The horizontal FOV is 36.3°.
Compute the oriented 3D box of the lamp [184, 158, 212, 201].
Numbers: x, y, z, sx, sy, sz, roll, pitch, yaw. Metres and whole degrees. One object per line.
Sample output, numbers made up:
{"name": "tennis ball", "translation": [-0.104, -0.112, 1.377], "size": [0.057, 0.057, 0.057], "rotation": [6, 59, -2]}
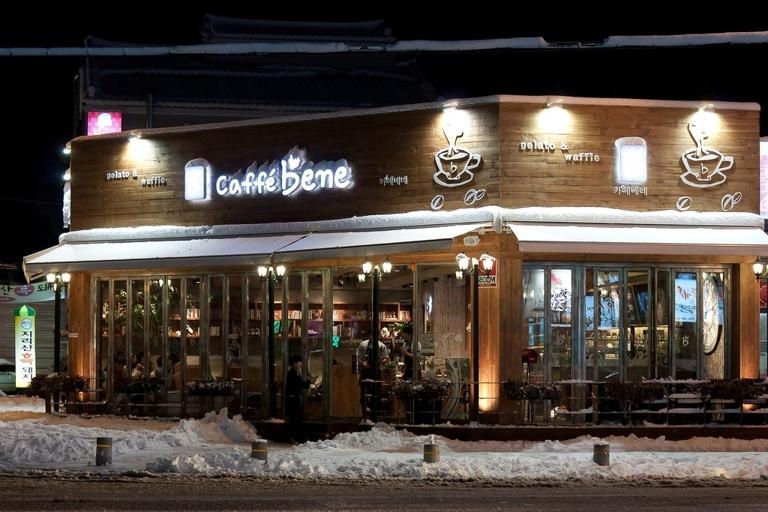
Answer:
{"name": "lamp", "translation": [-5.253, -2.096, 32.711], "size": [0.850, 1.180, 0.303], "rotation": [-6, -9, 23]}

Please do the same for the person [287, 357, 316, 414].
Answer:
{"name": "person", "translation": [-2.232, 3.298, 30.153], "size": [0.628, 1.459, 2.007], "rotation": [-1, -8, -4]}

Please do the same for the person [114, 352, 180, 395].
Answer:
{"name": "person", "translation": [-6.581, 3.374, 32.749], "size": [1.410, 0.821, 1.402], "rotation": [-1, -4, -6]}

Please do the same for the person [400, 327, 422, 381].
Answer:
{"name": "person", "translation": [0.568, 2.538, 30.979], "size": [0.347, 1.445, 0.816], "rotation": [1, -9, -19]}
